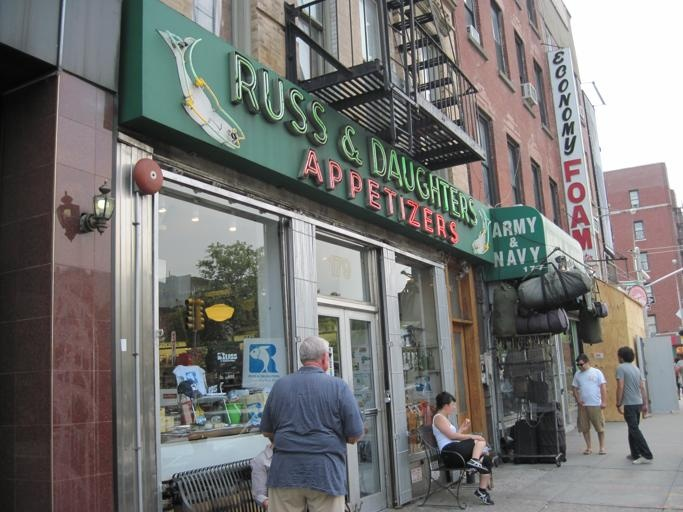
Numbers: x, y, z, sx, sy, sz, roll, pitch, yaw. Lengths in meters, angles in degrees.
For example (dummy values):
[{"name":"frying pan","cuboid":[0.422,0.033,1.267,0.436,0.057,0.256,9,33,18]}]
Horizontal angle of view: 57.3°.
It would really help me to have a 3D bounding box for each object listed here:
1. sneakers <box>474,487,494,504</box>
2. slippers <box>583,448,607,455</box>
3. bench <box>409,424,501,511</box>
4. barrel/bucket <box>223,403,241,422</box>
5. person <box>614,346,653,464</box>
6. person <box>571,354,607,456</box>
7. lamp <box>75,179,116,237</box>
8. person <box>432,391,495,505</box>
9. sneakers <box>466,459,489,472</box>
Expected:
[{"name":"sneakers","cuboid":[2.009,3.385,8.862,0.249,0.232,0.230,-8,-13,11]},{"name":"slippers","cuboid":[4.944,3.807,12.232,0.430,0.122,0.360,-12,-15,21]},{"name":"bench","cuboid":[1.816,3.260,9.749,1.238,1.936,1.069,-11,-18,29]},{"name":"barrel/bucket","cuboid":[-1.235,1.742,6.992,0.176,0.193,0.201,-3,-1,-7]},{"name":"person","cuboid":[5.159,2.630,11.168,0.446,1.999,0.647,-10,-13,27]},{"name":"person","cuboid":[4.934,2.911,12.403,0.607,1.934,0.721,-9,-13,21]},{"name":"lamp","cuboid":[-2.234,-0.473,5.711,0.293,0.517,0.253,4,-15,-34]},{"name":"person","cuboid":[1.862,3.041,9.807,0.793,1.738,0.705,-16,-35,13]},{"name":"sneakers","cuboid":[1.920,2.949,8.797,0.321,0.199,0.111,0,-13,-21]}]
